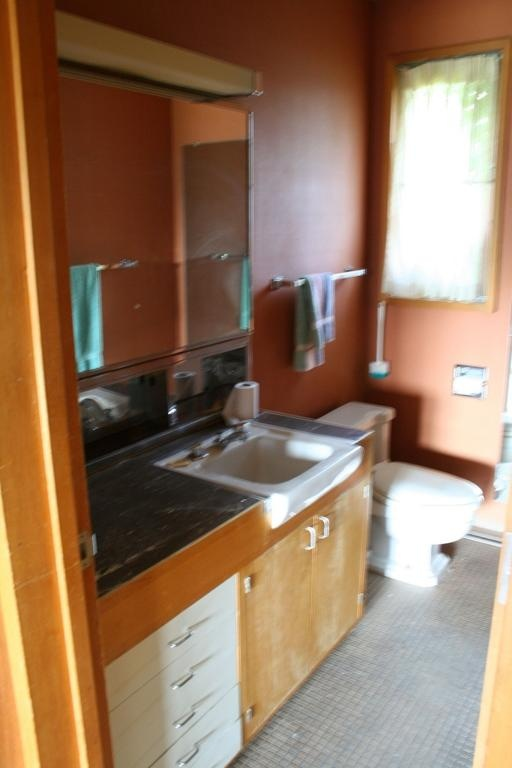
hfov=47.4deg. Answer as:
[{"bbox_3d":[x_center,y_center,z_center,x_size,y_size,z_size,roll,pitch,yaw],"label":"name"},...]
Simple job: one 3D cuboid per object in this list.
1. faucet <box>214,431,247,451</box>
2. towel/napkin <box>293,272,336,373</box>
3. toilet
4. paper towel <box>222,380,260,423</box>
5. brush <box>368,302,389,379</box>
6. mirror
[{"bbox_3d":[-0.074,0.170,1.794,0.040,0.039,0.133,-41,-12,25],"label":"faucet"},{"bbox_3d":[0.222,-0.256,2.315,0.111,0.403,0.302,7,23,25],"label":"towel/napkin"},{"bbox_3d":[0.628,0.478,2.486,0.600,0.666,0.383,10,19,37],"label":"toilet"},{"bbox_3d":[-0.047,0.049,1.994,0.147,0.163,0.081,-20,24,-41],"label":"paper towel"},{"bbox_3d":[0.610,-0.207,2.899,0.102,0.409,0.122,3,11,14],"label":"brush"},{"bbox_3d":[-0.226,-0.419,1.617,0.021,0.715,0.645,13,20,39],"label":"mirror"}]
